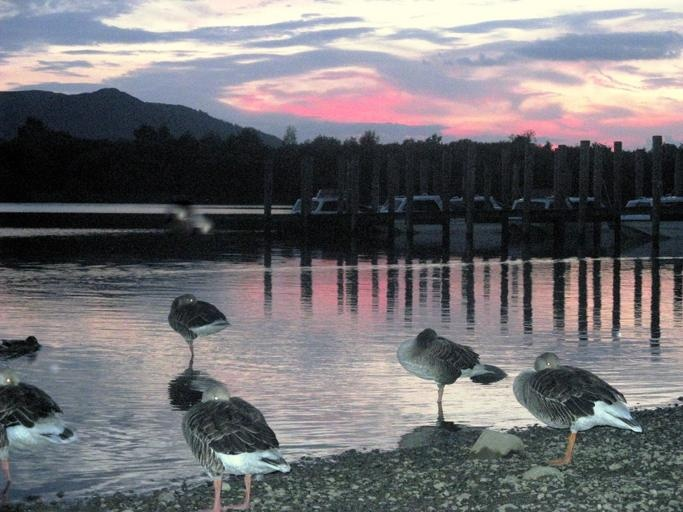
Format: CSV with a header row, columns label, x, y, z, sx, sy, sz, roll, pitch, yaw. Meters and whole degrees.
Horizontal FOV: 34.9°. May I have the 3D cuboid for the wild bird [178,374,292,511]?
label,x,y,z,sx,sy,sz,roll,pitch,yaw
wild bird,-1.524,2.805,15.526,1.534,1.733,0.690,2,6,41

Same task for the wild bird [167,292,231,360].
label,x,y,z,sx,sy,sz,roll,pitch,yaw
wild bird,-2.831,1.413,21.491,0.666,1.243,1.404,-4,5,-33

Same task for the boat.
label,x,y,z,sx,sy,sz,roll,pitch,yaw
boat,6.770,-1.372,50.916,19.572,2.555,2.939,2,-5,4
